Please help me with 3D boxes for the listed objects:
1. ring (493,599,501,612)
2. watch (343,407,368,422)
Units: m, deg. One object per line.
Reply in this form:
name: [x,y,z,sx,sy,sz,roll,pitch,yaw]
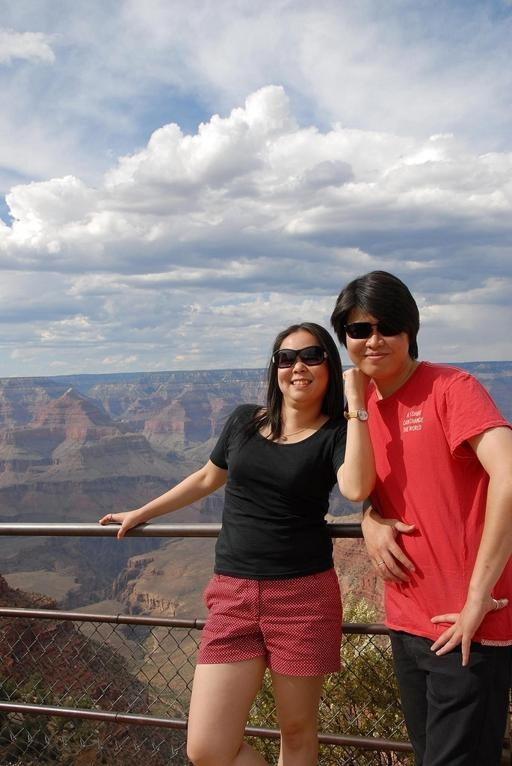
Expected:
ring: [0.667,0.617,1.620,0.015,0.029,0.043,-6,45,23]
watch: [0.331,0.112,1.951,0.062,0.038,0.060,6,-9,-36]
